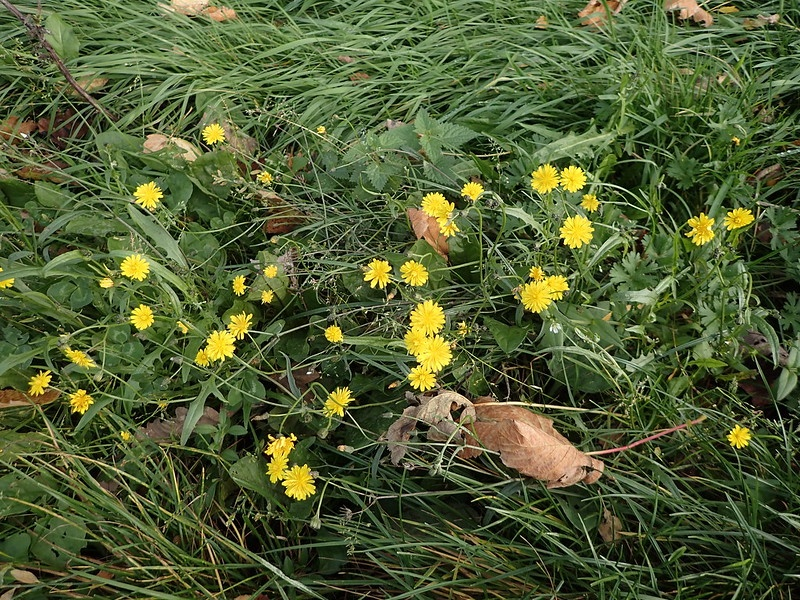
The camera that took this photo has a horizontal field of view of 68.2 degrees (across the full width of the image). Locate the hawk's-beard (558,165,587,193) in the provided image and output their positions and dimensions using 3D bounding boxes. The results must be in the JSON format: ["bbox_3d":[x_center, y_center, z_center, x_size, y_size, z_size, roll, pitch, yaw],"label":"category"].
[{"bbox_3d":[0.630,-0.442,2.152,0.084,0.068,0.101,33,66,22],"label":"hawk's-beard"}]

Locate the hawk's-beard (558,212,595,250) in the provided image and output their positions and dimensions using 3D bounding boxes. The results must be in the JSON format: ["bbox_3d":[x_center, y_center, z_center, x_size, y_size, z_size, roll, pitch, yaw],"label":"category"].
[{"bbox_3d":[0.606,-0.237,2.033,0.145,0.045,0.112,5,89,14],"label":"hawk's-beard"}]

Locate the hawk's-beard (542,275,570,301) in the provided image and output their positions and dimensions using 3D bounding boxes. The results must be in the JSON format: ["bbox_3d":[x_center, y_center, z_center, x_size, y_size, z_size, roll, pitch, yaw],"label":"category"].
[{"bbox_3d":[0.524,-0.043,1.987,0.102,0.041,0.077,14,90,2],"label":"hawk's-beard"}]

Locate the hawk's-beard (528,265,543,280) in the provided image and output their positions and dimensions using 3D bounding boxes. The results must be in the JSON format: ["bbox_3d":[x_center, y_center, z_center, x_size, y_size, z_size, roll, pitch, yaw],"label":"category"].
[{"bbox_3d":[0.476,-0.095,2.051,0.047,0.058,0.047,-2,60,5],"label":"hawk's-beard"}]
